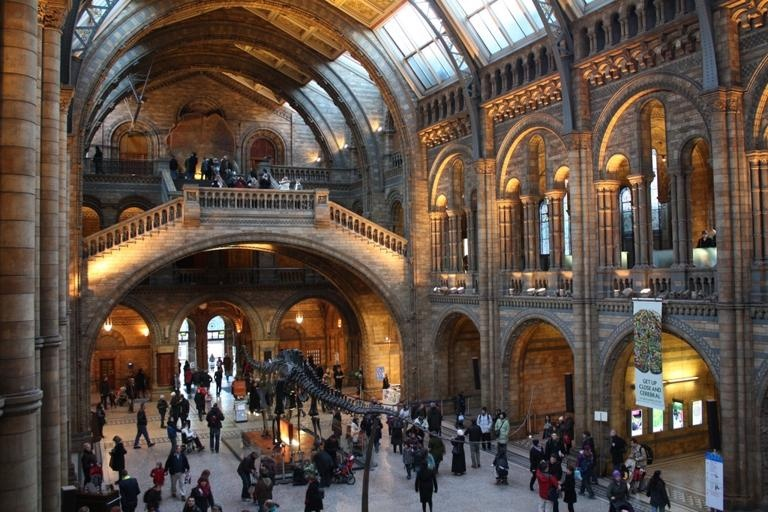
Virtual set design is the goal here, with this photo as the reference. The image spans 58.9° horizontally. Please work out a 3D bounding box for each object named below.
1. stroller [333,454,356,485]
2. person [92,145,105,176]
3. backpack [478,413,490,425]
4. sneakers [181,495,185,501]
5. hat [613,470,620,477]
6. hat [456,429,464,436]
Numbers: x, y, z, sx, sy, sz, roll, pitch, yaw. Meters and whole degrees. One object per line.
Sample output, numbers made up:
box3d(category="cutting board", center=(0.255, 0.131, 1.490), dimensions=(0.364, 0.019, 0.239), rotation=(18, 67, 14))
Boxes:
box3d(category="stroller", center=(-1.252, 7.095, 22.545), dimensions=(0.799, 0.881, 0.616), rotation=(-2, -5, -2))
box3d(category="person", center=(-16.091, -5.526, 38.417), dimensions=(0.551, 1.865, 1.574), rotation=(3, -9, -23))
box3d(category="backpack", center=(3.695, 6.022, 25.046), dimensions=(0.460, 0.474, 0.266), rotation=(1, -2, 2))
box3d(category="sneakers", center=(-6.181, 7.481, 21.014), dimensions=(0.123, 0.118, 0.173), rotation=(4, -9, -28))
box3d(category="hat", center=(6.303, 5.907, 18.442), dimensions=(0.159, 0.189, 0.449), rotation=(-4, -9, 26))
box3d(category="hat", center=(2.674, 6.194, 23.876), dimensions=(0.171, 0.228, 0.226), rotation=(5, -17, 19))
